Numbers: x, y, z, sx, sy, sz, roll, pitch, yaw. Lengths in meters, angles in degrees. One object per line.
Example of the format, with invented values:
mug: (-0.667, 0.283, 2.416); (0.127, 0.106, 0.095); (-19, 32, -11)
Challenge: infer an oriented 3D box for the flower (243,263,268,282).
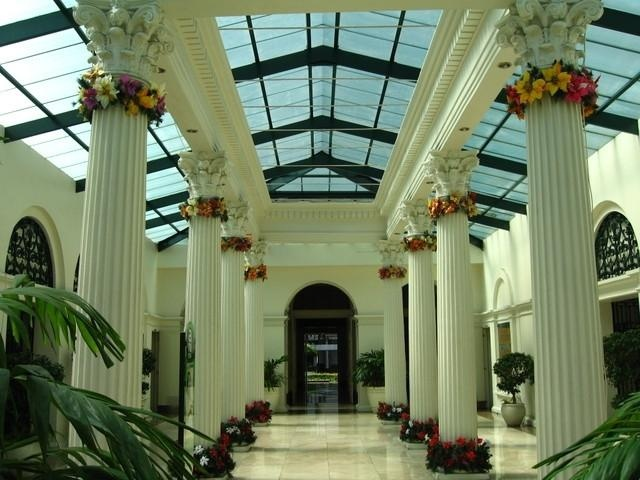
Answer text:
flower: (-1.994, 1.107, 16.746); (0.564, 0.392, 0.524); (0, -29, -9)

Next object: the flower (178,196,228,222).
flower: (-2.134, -0.574, 9.860); (0.834, 0.436, 0.404); (2, -11, -14)

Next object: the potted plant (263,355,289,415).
potted plant: (-1.623, 5.317, 19.831); (0.667, 2.015, 1.595); (-2, -10, 8)

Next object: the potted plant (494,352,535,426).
potted plant: (5.978, 4.589, 16.640); (1.076, 2.179, 2.114); (-3, -11, 17)

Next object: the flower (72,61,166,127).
flower: (-2.160, -1.507, 6.142); (0.991, 0.495, 1.053); (-10, 0, 37)

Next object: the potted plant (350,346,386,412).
potted plant: (1.768, 5.104, 19.477); (0.979, 2.204, 1.634); (1, -10, -5)

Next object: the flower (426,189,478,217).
flower: (2.457, -0.651, 10.021); (0.848, 0.499, 0.427); (-3, -10, 12)
